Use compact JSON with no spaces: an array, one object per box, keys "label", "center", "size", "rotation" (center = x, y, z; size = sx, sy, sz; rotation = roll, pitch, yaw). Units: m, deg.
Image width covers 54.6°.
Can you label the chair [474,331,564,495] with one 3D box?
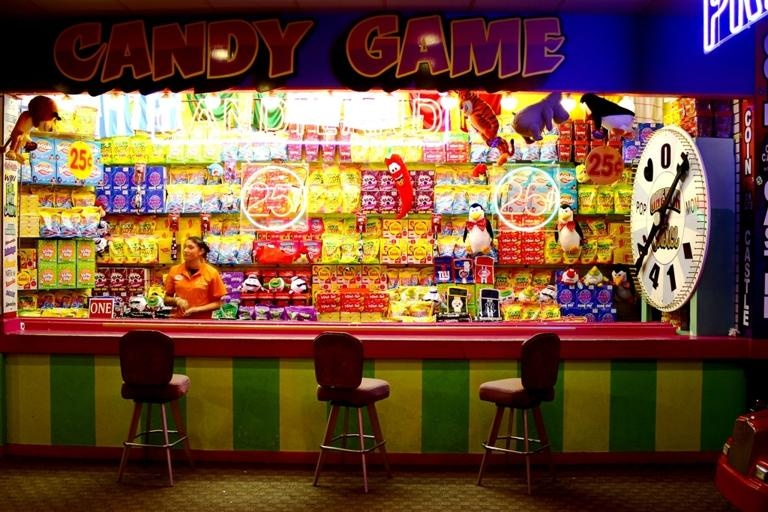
[{"label":"chair","center":[1.222,1.385,6.797],"size":[0.778,1.425,0.755],"rotation":[-2,2,2]}]

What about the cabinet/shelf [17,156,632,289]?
[{"label":"cabinet/shelf","center":[-0.370,-0.352,9.147],"size":[6.825,1.539,1.589],"rotation":[-2,2,-9]}]

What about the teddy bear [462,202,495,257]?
[{"label":"teddy bear","center":[1.137,-0.319,8.951],"size":[0.336,0.626,0.225],"rotation":[-2,2,0]}]

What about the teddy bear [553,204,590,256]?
[{"label":"teddy bear","center":[2.260,-0.305,9.023],"size":[0.357,0.647,0.288],"rotation":[-2,2,7]}]

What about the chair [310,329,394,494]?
[{"label":"chair","center":[-0.294,1.379,6.803],"size":[0.707,1.451,0.686],"rotation":[-2,2,2]}]

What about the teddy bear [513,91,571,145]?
[{"label":"teddy bear","center":[1.535,-1.362,7.317],"size":[0.592,0.412,0.409],"rotation":[-17,11,-6]}]

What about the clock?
[{"label":"clock","center":[2.724,-0.363,7.153],"size":[0.225,1.755,0.963],"rotation":[-2,2,-14]}]

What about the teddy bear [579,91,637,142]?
[{"label":"teddy bear","center":[2.158,-1.390,7.258],"size":[0.495,0.376,0.319],"rotation":[-2,2,-4]}]

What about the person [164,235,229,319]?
[{"label":"person","center":[-2.053,0.380,8.082],"size":[0.722,1.093,0.536],"rotation":[5,8,-1]}]

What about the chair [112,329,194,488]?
[{"label":"chair","center":[-2.105,1.367,6.885],"size":[0.669,1.432,0.720],"rotation":[-3,2,-17]}]
